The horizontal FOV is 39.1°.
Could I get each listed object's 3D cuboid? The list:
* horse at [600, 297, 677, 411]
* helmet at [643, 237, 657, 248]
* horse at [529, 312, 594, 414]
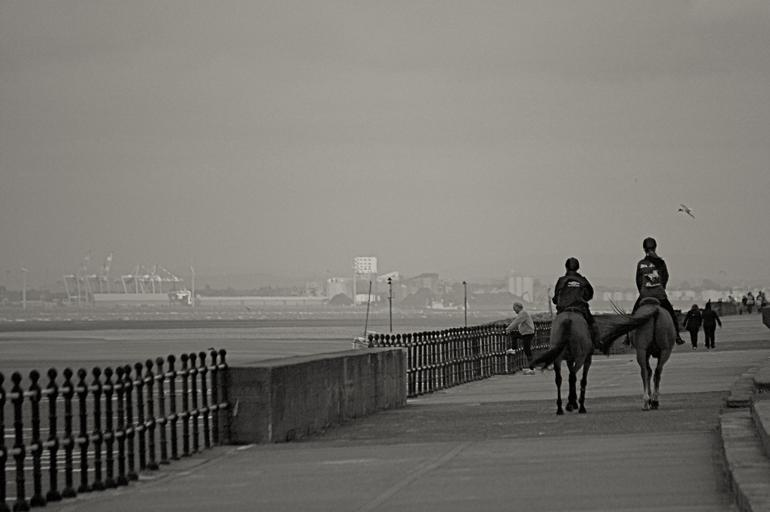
[{"bbox_3d":[5.731,1.980,23.293,0.882,2.586,4.338,-7,-11,20],"label":"horse"},{"bbox_3d":[4.668,-0.222,19.036,0.190,0.165,0.274,-4,2,8],"label":"helmet"},{"bbox_3d":[4.153,1.926,23.860,0.820,2.358,3.318,7,0,22],"label":"horse"}]
